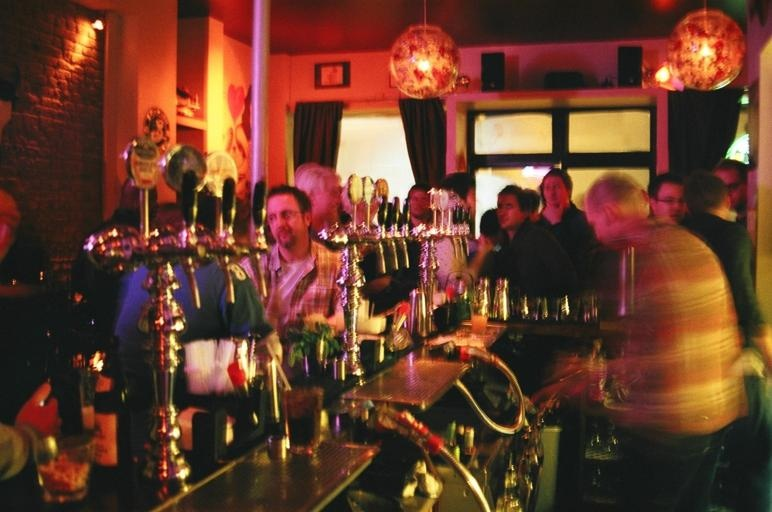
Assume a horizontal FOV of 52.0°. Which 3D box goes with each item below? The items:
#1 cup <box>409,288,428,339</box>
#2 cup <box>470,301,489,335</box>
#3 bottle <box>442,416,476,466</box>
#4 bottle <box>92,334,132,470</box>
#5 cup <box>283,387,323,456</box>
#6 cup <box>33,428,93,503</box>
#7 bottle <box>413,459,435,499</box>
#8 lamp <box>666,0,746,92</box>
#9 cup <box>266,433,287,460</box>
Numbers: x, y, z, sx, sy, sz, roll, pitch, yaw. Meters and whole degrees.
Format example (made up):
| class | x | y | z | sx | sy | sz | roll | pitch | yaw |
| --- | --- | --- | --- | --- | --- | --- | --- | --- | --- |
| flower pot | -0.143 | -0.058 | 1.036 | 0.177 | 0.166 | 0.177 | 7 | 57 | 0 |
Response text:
| class | x | y | z | sx | sy | sz | roll | pitch | yaw |
| --- | --- | --- | --- | --- | --- | --- | --- | --- | --- |
| cup | 0.192 | 0.333 | 4.640 | 0.103 | 0.303 | 0.134 | -1 | 2 | 2 |
| cup | 0.564 | 0.385 | 4.837 | 0.138 | 0.229 | 0.137 | 0 | -4 | 0 |
| bottle | 0.353 | 0.907 | 3.829 | 0.136 | 0.190 | 0.061 | 7 | -14 | -1 |
| bottle | -1.105 | 0.594 | 3.243 | 0.138 | 0.490 | 0.214 | -2 | 2 | -8 |
| cup | -0.353 | 0.702 | 3.384 | 0.163 | 0.276 | 0.079 | -2 | 2 | -10 |
| cup | -1.222 | 0.815 | 3.049 | 0.211 | 0.261 | 0.227 | -2 | -9 | 0 |
| bottle | 0.179 | 1.023 | 3.626 | 0.089 | 0.150 | 0.055 | -6 | -2 | -7 |
| lamp | 1.924 | -1.292 | 4.950 | 0.446 | 0.556 | 0.469 | 1 | 0 | 6 |
| cup | -0.457 | 0.810 | 3.378 | 0.087 | 0.088 | 0.091 | 0 | 4 | 0 |
